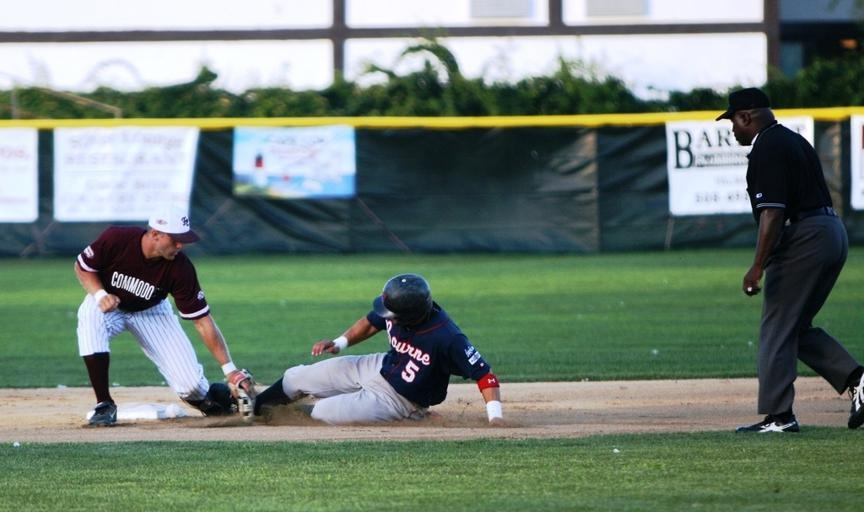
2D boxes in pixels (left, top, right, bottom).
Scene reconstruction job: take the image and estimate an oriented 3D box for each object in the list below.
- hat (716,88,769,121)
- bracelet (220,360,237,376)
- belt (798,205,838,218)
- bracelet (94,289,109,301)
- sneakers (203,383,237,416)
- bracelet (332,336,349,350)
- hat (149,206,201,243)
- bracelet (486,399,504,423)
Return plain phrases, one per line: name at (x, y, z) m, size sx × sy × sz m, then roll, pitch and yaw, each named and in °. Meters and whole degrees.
hat at (3.903, -2.098, 26.322) m, size 0.624 × 0.261 × 0.397 m, roll -2°, pitch 5°, yaw 14°
bracelet at (-2.606, 1.411, 26.826) m, size 0.208 × 0.188 × 0.209 m, roll 15°, pitch -10°, yaw -37°
belt at (4.772, -0.653, 26.063) m, size 0.247 × 0.059 × 0.234 m, roll -16°, pitch 2°, yaw 18°
bracelet at (-4.191, 0.425, 26.544) m, size 0.150 × 0.097 × 0.148 m, roll 4°, pitch 7°, yaw 34°
sneakers at (-2.731, 1.841, 26.958) m, size 0.494 × 0.293 × 0.210 m, roll 37°, pitch 27°, yaw 5°
bracelet at (-1.185, 1.078, 26.892) m, size 0.205 × 0.180 × 0.201 m, roll 4°, pitch -5°, yaw -27°
hat at (-3.251, -0.534, 26.521) m, size 0.654 × 0.300 × 0.407 m, roll 19°, pitch 16°, yaw -1°
bracelet at (0.786, 1.952, 26.540) m, size 0.190 × 0.300 × 0.189 m, roll -5°, pitch 3°, yaw -1°
